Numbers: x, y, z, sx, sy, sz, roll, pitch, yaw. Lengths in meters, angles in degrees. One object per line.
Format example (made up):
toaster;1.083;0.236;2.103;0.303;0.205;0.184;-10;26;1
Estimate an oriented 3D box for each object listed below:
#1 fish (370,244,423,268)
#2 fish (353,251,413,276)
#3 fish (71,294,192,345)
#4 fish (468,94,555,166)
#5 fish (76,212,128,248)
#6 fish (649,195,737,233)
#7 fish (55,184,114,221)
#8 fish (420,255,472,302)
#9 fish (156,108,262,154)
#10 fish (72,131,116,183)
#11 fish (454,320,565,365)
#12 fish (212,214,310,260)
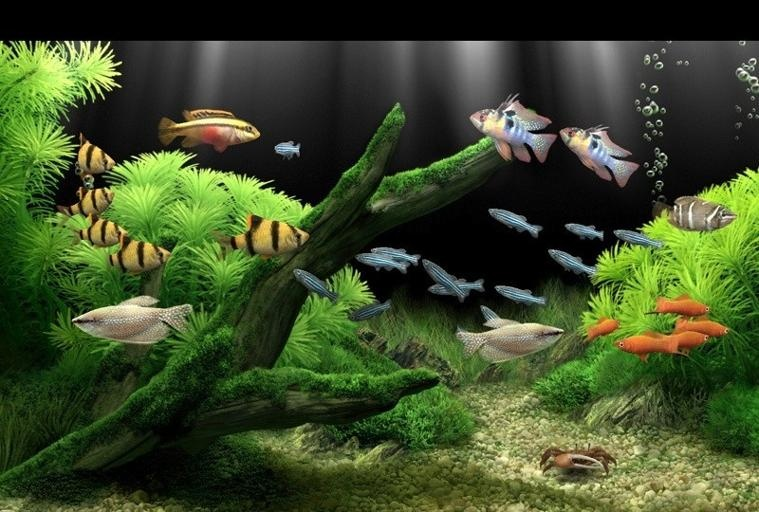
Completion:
fish;0.178;-0.012;6.981;0.590;0.232;0.140;17;-1;0
fish;-0.026;0.058;6.342;0.463;0.247;0.364;-9;17;-31
fish;-2.100;0.541;5.616;0.946;0.457;0.214;0;13;-10
fish;1.198;-1.116;5.926;0.712;0.524;0.292;3;15;13
fish;-2.676;-0.220;6.304;0.573;0.328;0.129;0;10;13
fish;2.828;-0.369;5.858;0.573;0.273;0.102;8;17;29
fish;-3.006;-0.544;6.745;0.574;0.457;0.544;4;4;-10
fish;0.636;0.220;6.403;0.554;0.219;0.098;42;47;9
fish;-1.552;-1.148;6.039;0.872;0.405;0.197;-4;25;-24
fish;-3.001;-1.014;6.833;0.291;0.464;0.697;-9;17;-31
fish;1.132;0.729;5.711;0.901;0.350;0.176;-7;9;13
fish;-1.023;-0.164;5.733;0.837;0.413;0.129;-4;14;11
